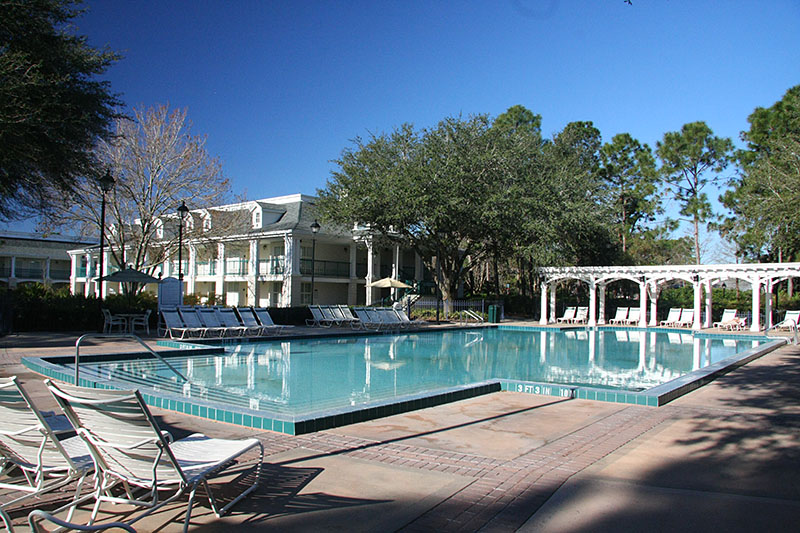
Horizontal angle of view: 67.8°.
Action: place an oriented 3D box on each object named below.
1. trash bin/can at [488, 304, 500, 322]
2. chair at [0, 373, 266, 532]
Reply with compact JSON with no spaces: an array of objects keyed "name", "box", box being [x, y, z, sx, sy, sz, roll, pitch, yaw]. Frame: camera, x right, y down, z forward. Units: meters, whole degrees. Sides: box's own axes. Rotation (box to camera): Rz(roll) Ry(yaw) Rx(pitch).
[{"name":"trash bin/can","box":[5.233,2.578,33.201,0.505,1.019,1.018,-2,-4,23]},{"name":"chair","box":[-2.446,2.029,7.586,1.167,1.691,3.005,1,1,27]}]
